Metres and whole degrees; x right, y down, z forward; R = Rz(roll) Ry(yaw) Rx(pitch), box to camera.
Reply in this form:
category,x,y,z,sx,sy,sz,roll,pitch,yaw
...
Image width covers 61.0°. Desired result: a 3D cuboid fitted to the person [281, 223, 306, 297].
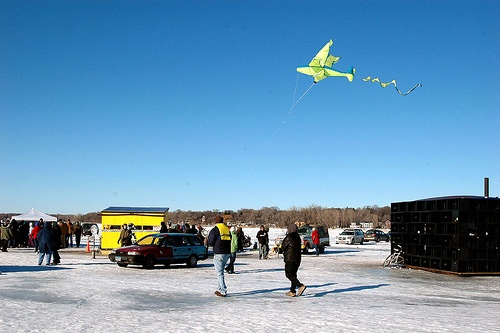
category,x,y,z,sx,sy,sz,roll,pitch,yaw
person,1.492,3.249,14.729,0.787,2.438,1.219,-2,-9,13

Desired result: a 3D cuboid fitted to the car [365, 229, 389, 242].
category,x,y,z,sx,sy,sz,roll,pitch,yaw
car,18.589,10.296,63.625,4.481,1.779,1.621,7,-12,-33

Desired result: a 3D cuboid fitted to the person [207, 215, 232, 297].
category,x,y,z,sx,sy,sz,roll,pitch,yaw
person,-1.085,3.098,14.886,0.736,2.721,1.296,1,-9,-4

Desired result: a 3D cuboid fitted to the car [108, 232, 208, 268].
category,x,y,z,sx,sy,sz,roll,pitch,yaw
car,-4.760,4.577,23.238,3.466,1.402,2.286,12,-16,-42

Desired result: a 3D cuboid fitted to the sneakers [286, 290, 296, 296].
category,x,y,z,sx,sy,sz,roll,pitch,yaw
sneakers,1.407,4.420,14.787,0.322,0.177,0.145,7,-9,44

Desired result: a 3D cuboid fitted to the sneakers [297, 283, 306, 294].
category,x,y,z,sx,sy,sz,roll,pitch,yaw
sneakers,1.744,4.256,14.560,0.226,0.575,0.183,13,12,9

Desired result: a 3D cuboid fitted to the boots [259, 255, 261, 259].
category,x,y,z,sx,sy,sz,roll,pitch,yaw
boots,0.693,6.409,29.963,0.142,0.290,0.278,-4,-8,21

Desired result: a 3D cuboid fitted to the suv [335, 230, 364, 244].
category,x,y,z,sx,sy,sz,roll,pitch,yaw
suv,13.263,9.299,55.962,1.728,1.544,3.360,-7,-15,34

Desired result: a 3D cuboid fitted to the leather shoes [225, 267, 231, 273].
category,x,y,z,sx,sy,sz,roll,pitch,yaw
leather shoes,-1.111,5.187,21.250,0.134,0.456,0.172,-2,1,39

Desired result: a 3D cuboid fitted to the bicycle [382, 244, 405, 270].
category,x,y,z,sx,sy,sz,roll,pitch,yaw
bicycle,8.505,5.393,25.470,1.172,1.343,1.415,-7,-12,36

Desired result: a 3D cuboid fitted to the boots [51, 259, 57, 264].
category,x,y,z,sx,sy,sz,roll,pitch,yaw
boots,-10.401,5.103,22.685,0.252,0.279,0.268,-2,-10,13
